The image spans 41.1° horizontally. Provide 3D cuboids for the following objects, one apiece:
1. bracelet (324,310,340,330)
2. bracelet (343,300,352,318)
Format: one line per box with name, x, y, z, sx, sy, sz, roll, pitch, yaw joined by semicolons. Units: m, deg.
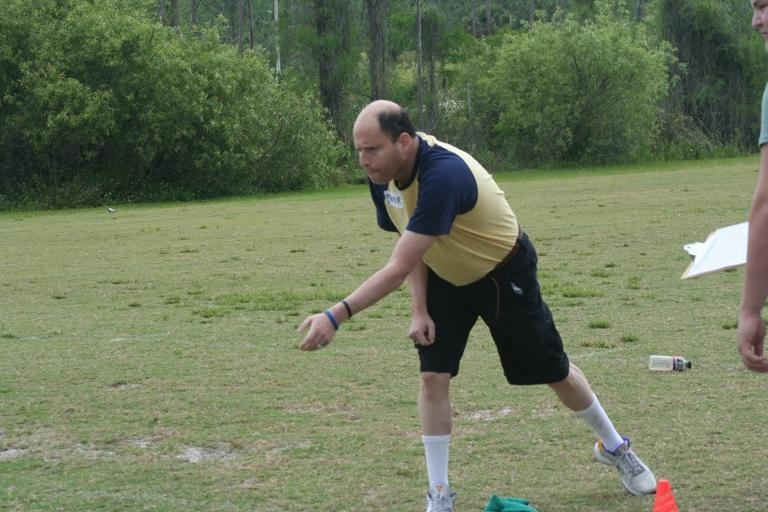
bracelet;-0.654;0.824;13.102;0.095;0.240;0.209;-49;18;-16
bracelet;-0.477;0.685;13.095;0.121;0.238;0.084;-6;15;-11
